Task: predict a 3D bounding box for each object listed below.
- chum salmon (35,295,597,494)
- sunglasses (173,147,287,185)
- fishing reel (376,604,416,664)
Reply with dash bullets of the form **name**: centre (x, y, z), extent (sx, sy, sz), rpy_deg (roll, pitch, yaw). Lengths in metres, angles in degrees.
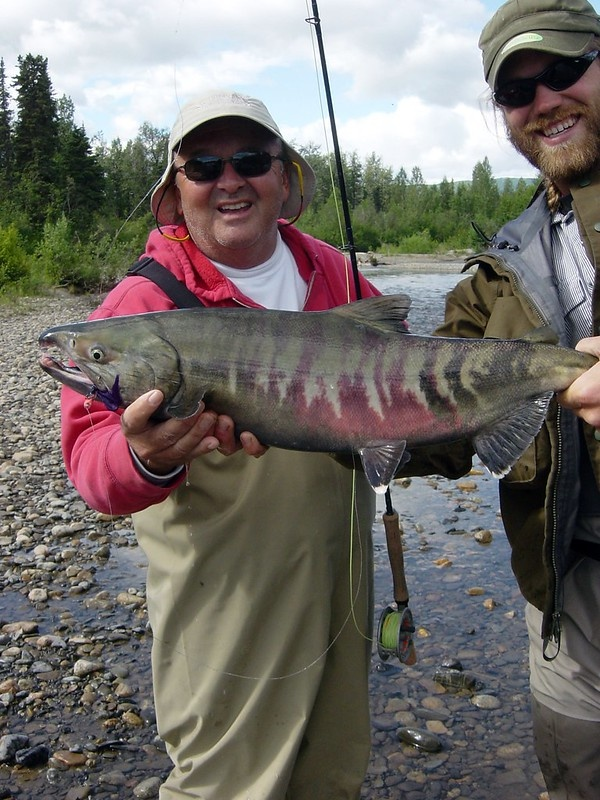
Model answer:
- **chum salmon**: centre (0.095, -0.039, 2.322), extent (1.832, 0.621, 0.428), rpy_deg (-1, 14, -2)
- **sunglasses**: centre (-0.305, -0.935, 2.725), extent (0.464, 0.145, 0.120), rpy_deg (-9, 17, -18)
- **fishing reel**: centre (0.453, 1.123, 3.202), extent (0.129, 0.273, 0.315), rpy_deg (-10, -30, 26)
